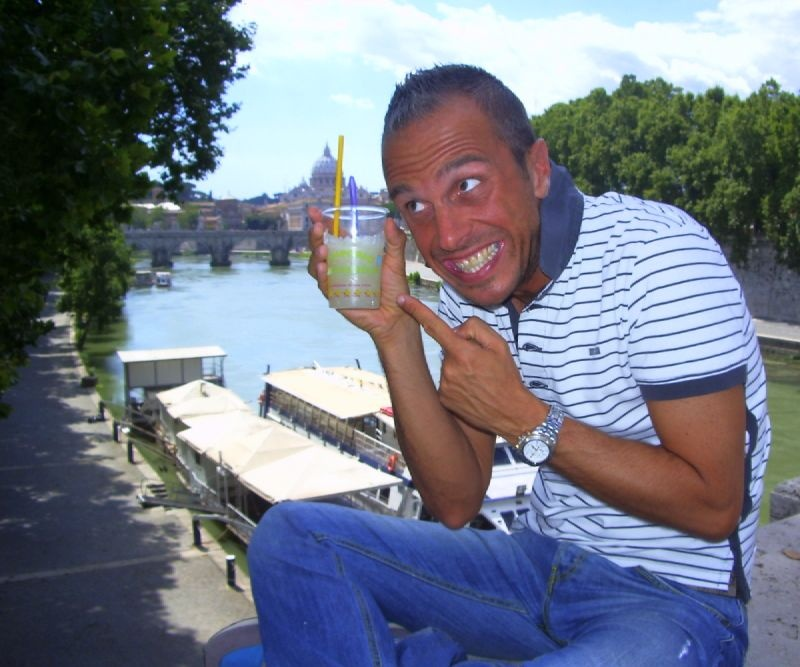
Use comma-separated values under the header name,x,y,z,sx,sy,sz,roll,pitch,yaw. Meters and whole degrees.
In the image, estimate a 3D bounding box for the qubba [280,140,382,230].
name,x,y,z,sx,sy,sz,roll,pitch,yaw
qubba,-12.419,-27.249,148.784,15.786,15.045,13.469,-7,41,0

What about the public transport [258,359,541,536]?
name,x,y,z,sx,sy,sz,roll,pitch,yaw
public transport,-0.385,2.993,18.096,2.456,2.588,8.828,-2,3,-19

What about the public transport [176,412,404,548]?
name,x,y,z,sx,sy,sz,roll,pitch,yaw
public transport,-2.712,2.968,16.501,2.107,1.885,6.961,-9,2,-19

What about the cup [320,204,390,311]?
name,x,y,z,sx,sy,sz,roll,pitch,yaw
cup,-0.187,-0.304,3.423,0.256,0.418,0.261,0,10,0
